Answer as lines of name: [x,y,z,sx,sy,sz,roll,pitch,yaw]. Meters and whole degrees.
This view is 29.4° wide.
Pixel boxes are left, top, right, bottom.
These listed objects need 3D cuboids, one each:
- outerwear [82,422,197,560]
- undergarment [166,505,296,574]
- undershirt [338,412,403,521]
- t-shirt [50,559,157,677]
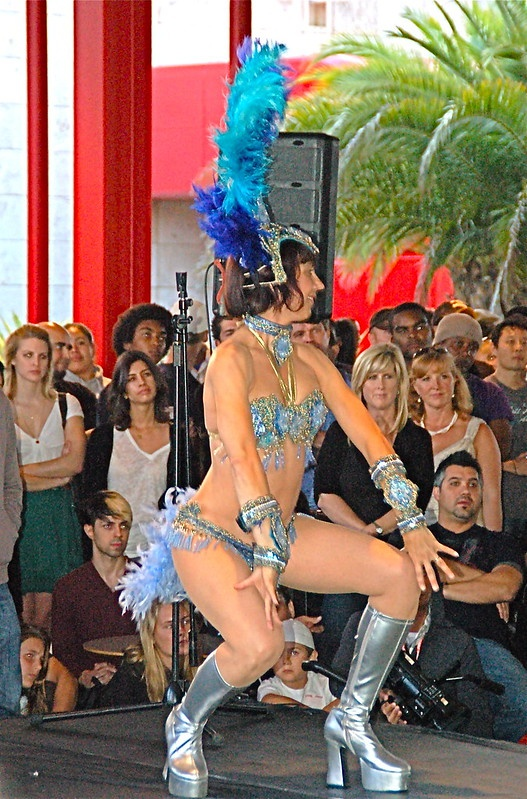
outerwear: [-0.466,0.332,3.649,0.630,0.520,0.308,4,-12,-20]
undergarment: [-0.080,0.283,2.274,0.210,0.107,0.157,17,8,-5]
undershirt: [0.393,0.278,4.017,0.329,0.353,0.116,1,-1,12]
t-shirt: [-0.696,0.828,3.905,0.441,0.520,0.302,-3,-25,-26]
